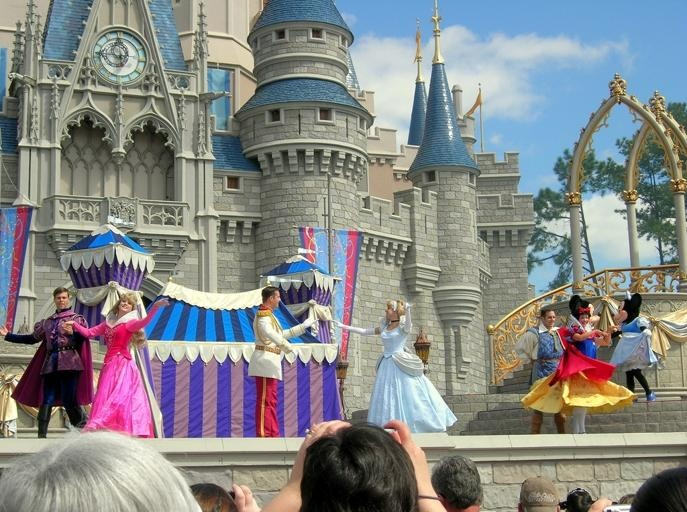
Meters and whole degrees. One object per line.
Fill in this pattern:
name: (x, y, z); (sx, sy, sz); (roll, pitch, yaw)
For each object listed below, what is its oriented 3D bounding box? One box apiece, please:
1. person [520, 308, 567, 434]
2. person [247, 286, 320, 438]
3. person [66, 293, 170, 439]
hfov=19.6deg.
person: (3.559, 2.015, 34.401); (1.134, 2.195, 0.702); (-1, -4, -24)
person: (-1.165, 1.878, 33.521); (0.944, 2.620, 1.084); (0, -2, 16)
person: (-3.580, 1.913, 31.921); (1.256, 3.143, 1.160); (0, -4, -7)
